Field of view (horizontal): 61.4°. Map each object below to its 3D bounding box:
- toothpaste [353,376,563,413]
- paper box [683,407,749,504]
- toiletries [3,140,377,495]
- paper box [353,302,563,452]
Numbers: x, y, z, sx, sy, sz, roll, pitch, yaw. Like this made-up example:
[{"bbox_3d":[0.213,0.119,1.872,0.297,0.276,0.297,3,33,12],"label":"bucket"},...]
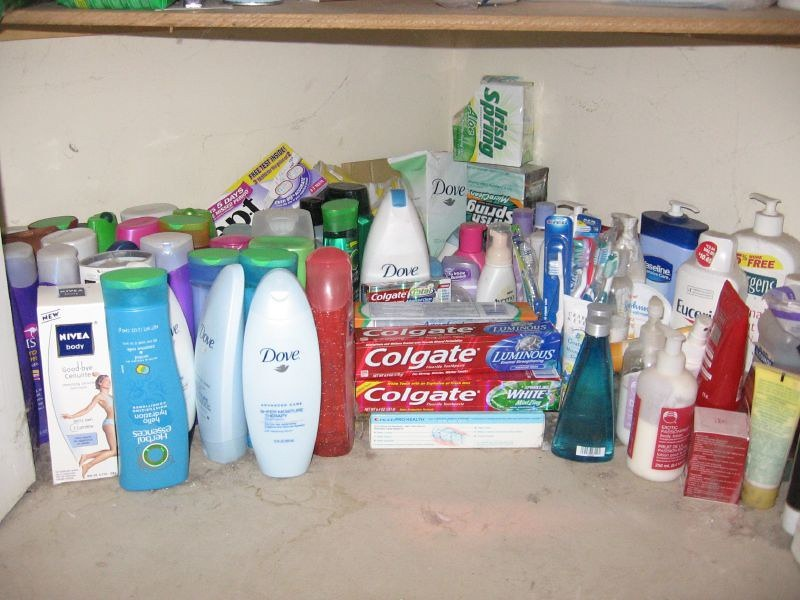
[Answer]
[{"bbox_3d":[0.089,0.153,1.073,0.334,0.064,0.055,-3,-9,21],"label":"toothpaste"},{"bbox_3d":[0.460,0.228,0.977,0.076,0.127,0.063,5,17,23],"label":"paper box"},{"bbox_3d":[-0.294,-0.030,1.067,0.594,0.409,0.326,-3,16,-12],"label":"toiletries"},{"bbox_3d":[0.094,0.116,1.120,0.317,0.215,0.191,0,-2,1],"label":"paper box"}]
